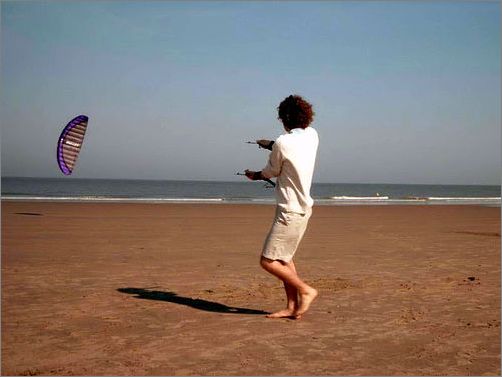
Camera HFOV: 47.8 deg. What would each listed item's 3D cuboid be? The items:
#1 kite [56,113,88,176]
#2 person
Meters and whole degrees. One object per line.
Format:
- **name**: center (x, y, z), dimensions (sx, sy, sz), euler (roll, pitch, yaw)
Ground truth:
- **kite**: center (-4.166, -1.244, 13.111), dimensions (0.523, 0.237, 1.497), euler (-6, -19, -25)
- **person**: center (0.412, 0.245, 6.523), dimensions (0.734, 2.652, 1.529), euler (1, 3, 7)
